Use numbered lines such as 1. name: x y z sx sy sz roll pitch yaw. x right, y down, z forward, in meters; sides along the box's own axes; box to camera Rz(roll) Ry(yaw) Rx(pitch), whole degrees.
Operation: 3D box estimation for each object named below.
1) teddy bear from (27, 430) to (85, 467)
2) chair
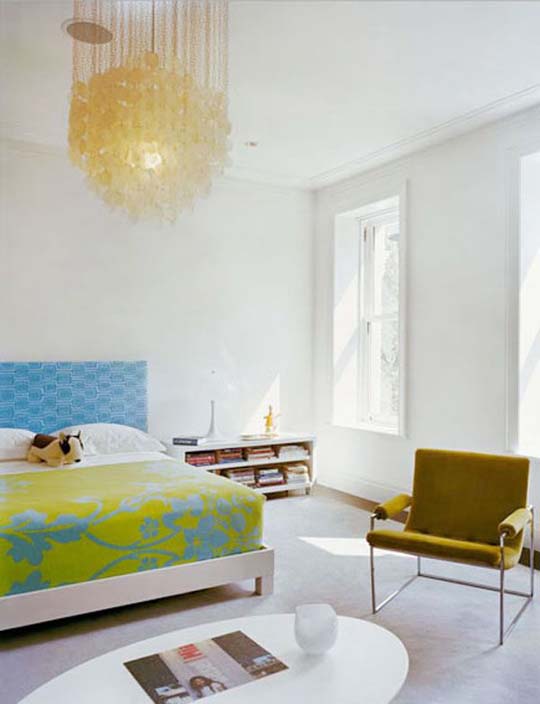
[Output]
1. teddy bear: -1.432 0.633 4.076 0.333 0.164 0.201 -1 -2 29
2. chair: 0.832 0.868 3.294 0.898 0.948 0.806 -1 -1 32
